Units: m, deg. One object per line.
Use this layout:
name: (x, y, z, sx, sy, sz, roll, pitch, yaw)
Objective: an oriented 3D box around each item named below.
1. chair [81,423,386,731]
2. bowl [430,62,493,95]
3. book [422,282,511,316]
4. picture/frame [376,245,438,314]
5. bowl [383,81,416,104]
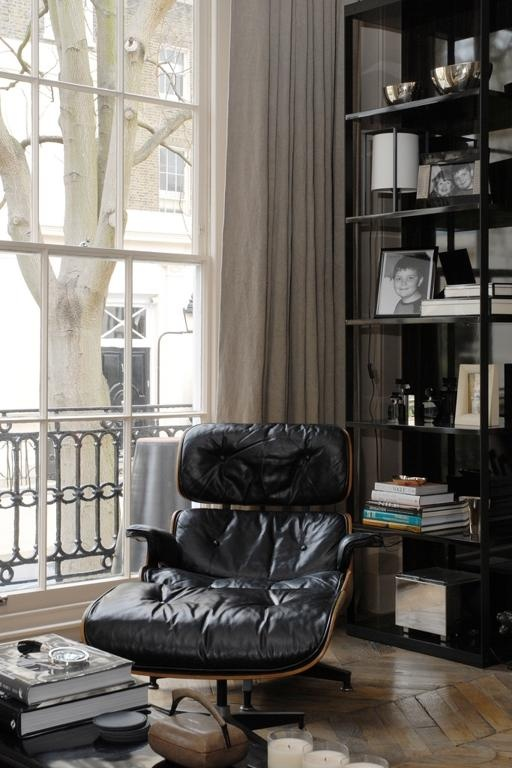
chair: (-0.042, 0.579, 2.226, 0.764, 0.978, 0.993, -1, -5, 18)
bowl: (0.724, -1.081, 2.696, 0.143, 0.087, 0.153, -7, -4, 0)
book: (0.735, -0.287, 2.639, 0.307, 0.120, 0.194, -1, -3, 16)
picture/frame: (0.582, -0.395, 2.931, 0.221, 0.309, 0.008, 1, -23, 22)
bowl: (0.544, -1.097, 2.850, 0.093, 0.070, 0.097, -3, -4, 0)
